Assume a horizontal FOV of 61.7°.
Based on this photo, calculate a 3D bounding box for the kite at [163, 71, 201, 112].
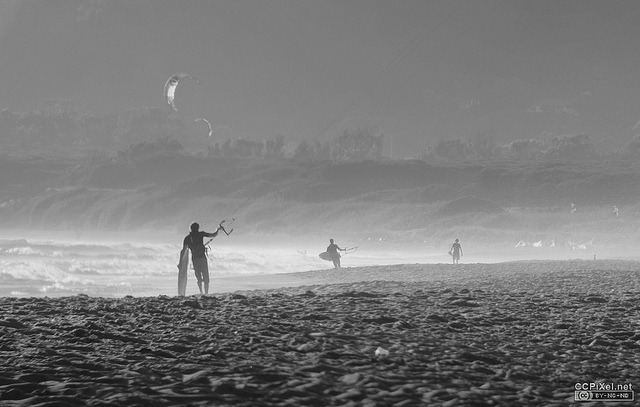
[{"bbox_3d":[-0.706,-0.587,2.816,0.198,0.045,0.204,-43,16,-10],"label":"kite"}]

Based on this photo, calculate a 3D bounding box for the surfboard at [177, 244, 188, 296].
[{"bbox_3d":[-5.308,2.578,20.845,0.357,2.003,2.165,-1,-3,-14],"label":"surfboard"}]
